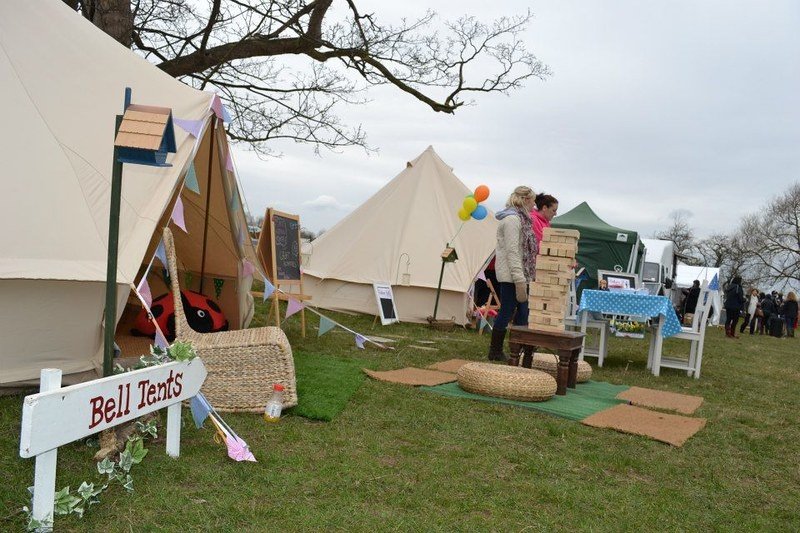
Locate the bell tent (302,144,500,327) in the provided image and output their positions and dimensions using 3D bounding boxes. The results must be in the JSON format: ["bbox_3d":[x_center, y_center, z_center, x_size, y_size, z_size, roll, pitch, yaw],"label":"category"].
[{"bbox_3d":[0.058,-0.453,12.330,3.683,3.997,3.571,-1,10,-38],"label":"bell tent"}]

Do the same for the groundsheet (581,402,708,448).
[{"bbox_3d":[2.371,1.519,5.429,0.871,0.074,1.073,6,2,41],"label":"groundsheet"}]

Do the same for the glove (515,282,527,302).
[{"bbox_3d":[1.531,0.325,7.092,0.163,0.249,0.300,5,1,10],"label":"glove"}]

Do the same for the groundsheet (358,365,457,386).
[{"bbox_3d":[0.177,1.273,6.526,1.093,0.074,0.726,4,2,-43],"label":"groundsheet"}]

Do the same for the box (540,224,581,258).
[{"bbox_3d":[1.857,-0.275,6.489,0.350,0.283,0.358,4,0,8],"label":"box"}]

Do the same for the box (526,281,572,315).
[{"bbox_3d":[1.749,0.358,6.562,0.358,0.297,0.370,4,0,16],"label":"box"}]

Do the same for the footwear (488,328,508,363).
[{"bbox_3d":[1.300,1.063,7.478,0.389,0.546,0.268,-2,1,12],"label":"footwear"}]

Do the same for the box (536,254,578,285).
[{"bbox_3d":[1.829,0.040,6.619,0.357,0.245,0.371,3,4,13],"label":"box"}]
